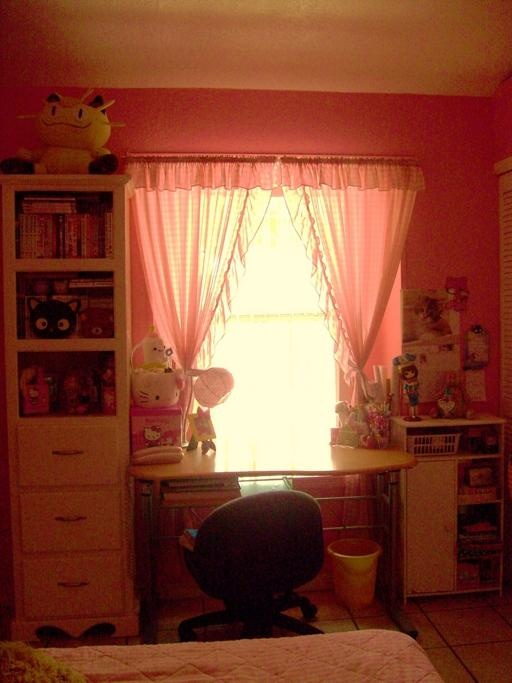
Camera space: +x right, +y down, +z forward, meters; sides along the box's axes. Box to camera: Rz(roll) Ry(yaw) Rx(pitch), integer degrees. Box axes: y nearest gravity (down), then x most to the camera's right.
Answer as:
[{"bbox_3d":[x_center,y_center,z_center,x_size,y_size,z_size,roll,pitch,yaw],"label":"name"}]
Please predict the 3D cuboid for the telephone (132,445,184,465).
[{"bbox_3d":[-0.391,0.455,2.478,0.129,0.045,0.093,7,-3,-8],"label":"telephone"}]

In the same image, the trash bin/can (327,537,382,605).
[{"bbox_3d":[0.456,1.096,2.865,0.267,0.237,0.267,0,-11,3],"label":"trash bin/can"}]

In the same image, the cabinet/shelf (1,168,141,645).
[{"bbox_3d":[-0.768,0.273,2.579,0.521,1.866,0.310,-1,2,-12],"label":"cabinet/shelf"}]

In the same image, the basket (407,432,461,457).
[{"bbox_3d":[0.802,0.470,2.805,0.180,0.068,0.119,-1,-6,0],"label":"basket"}]

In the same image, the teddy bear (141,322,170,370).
[{"bbox_3d":[-0.445,0.045,2.735,0.158,0.208,0.121,2,-3,-30],"label":"teddy bear"}]

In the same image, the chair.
[{"bbox_3d":[-0.006,0.811,2.304,0.516,0.581,0.459,-1,0,-14],"label":"chair"}]

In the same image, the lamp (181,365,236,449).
[{"bbox_3d":[-0.223,0.298,2.795,0.207,0.363,0.308,-1,2,-21],"label":"lamp"}]

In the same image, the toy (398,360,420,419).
[{"bbox_3d":[0.727,0.223,2.931,0.098,0.270,0.227,0,2,13],"label":"toy"}]
